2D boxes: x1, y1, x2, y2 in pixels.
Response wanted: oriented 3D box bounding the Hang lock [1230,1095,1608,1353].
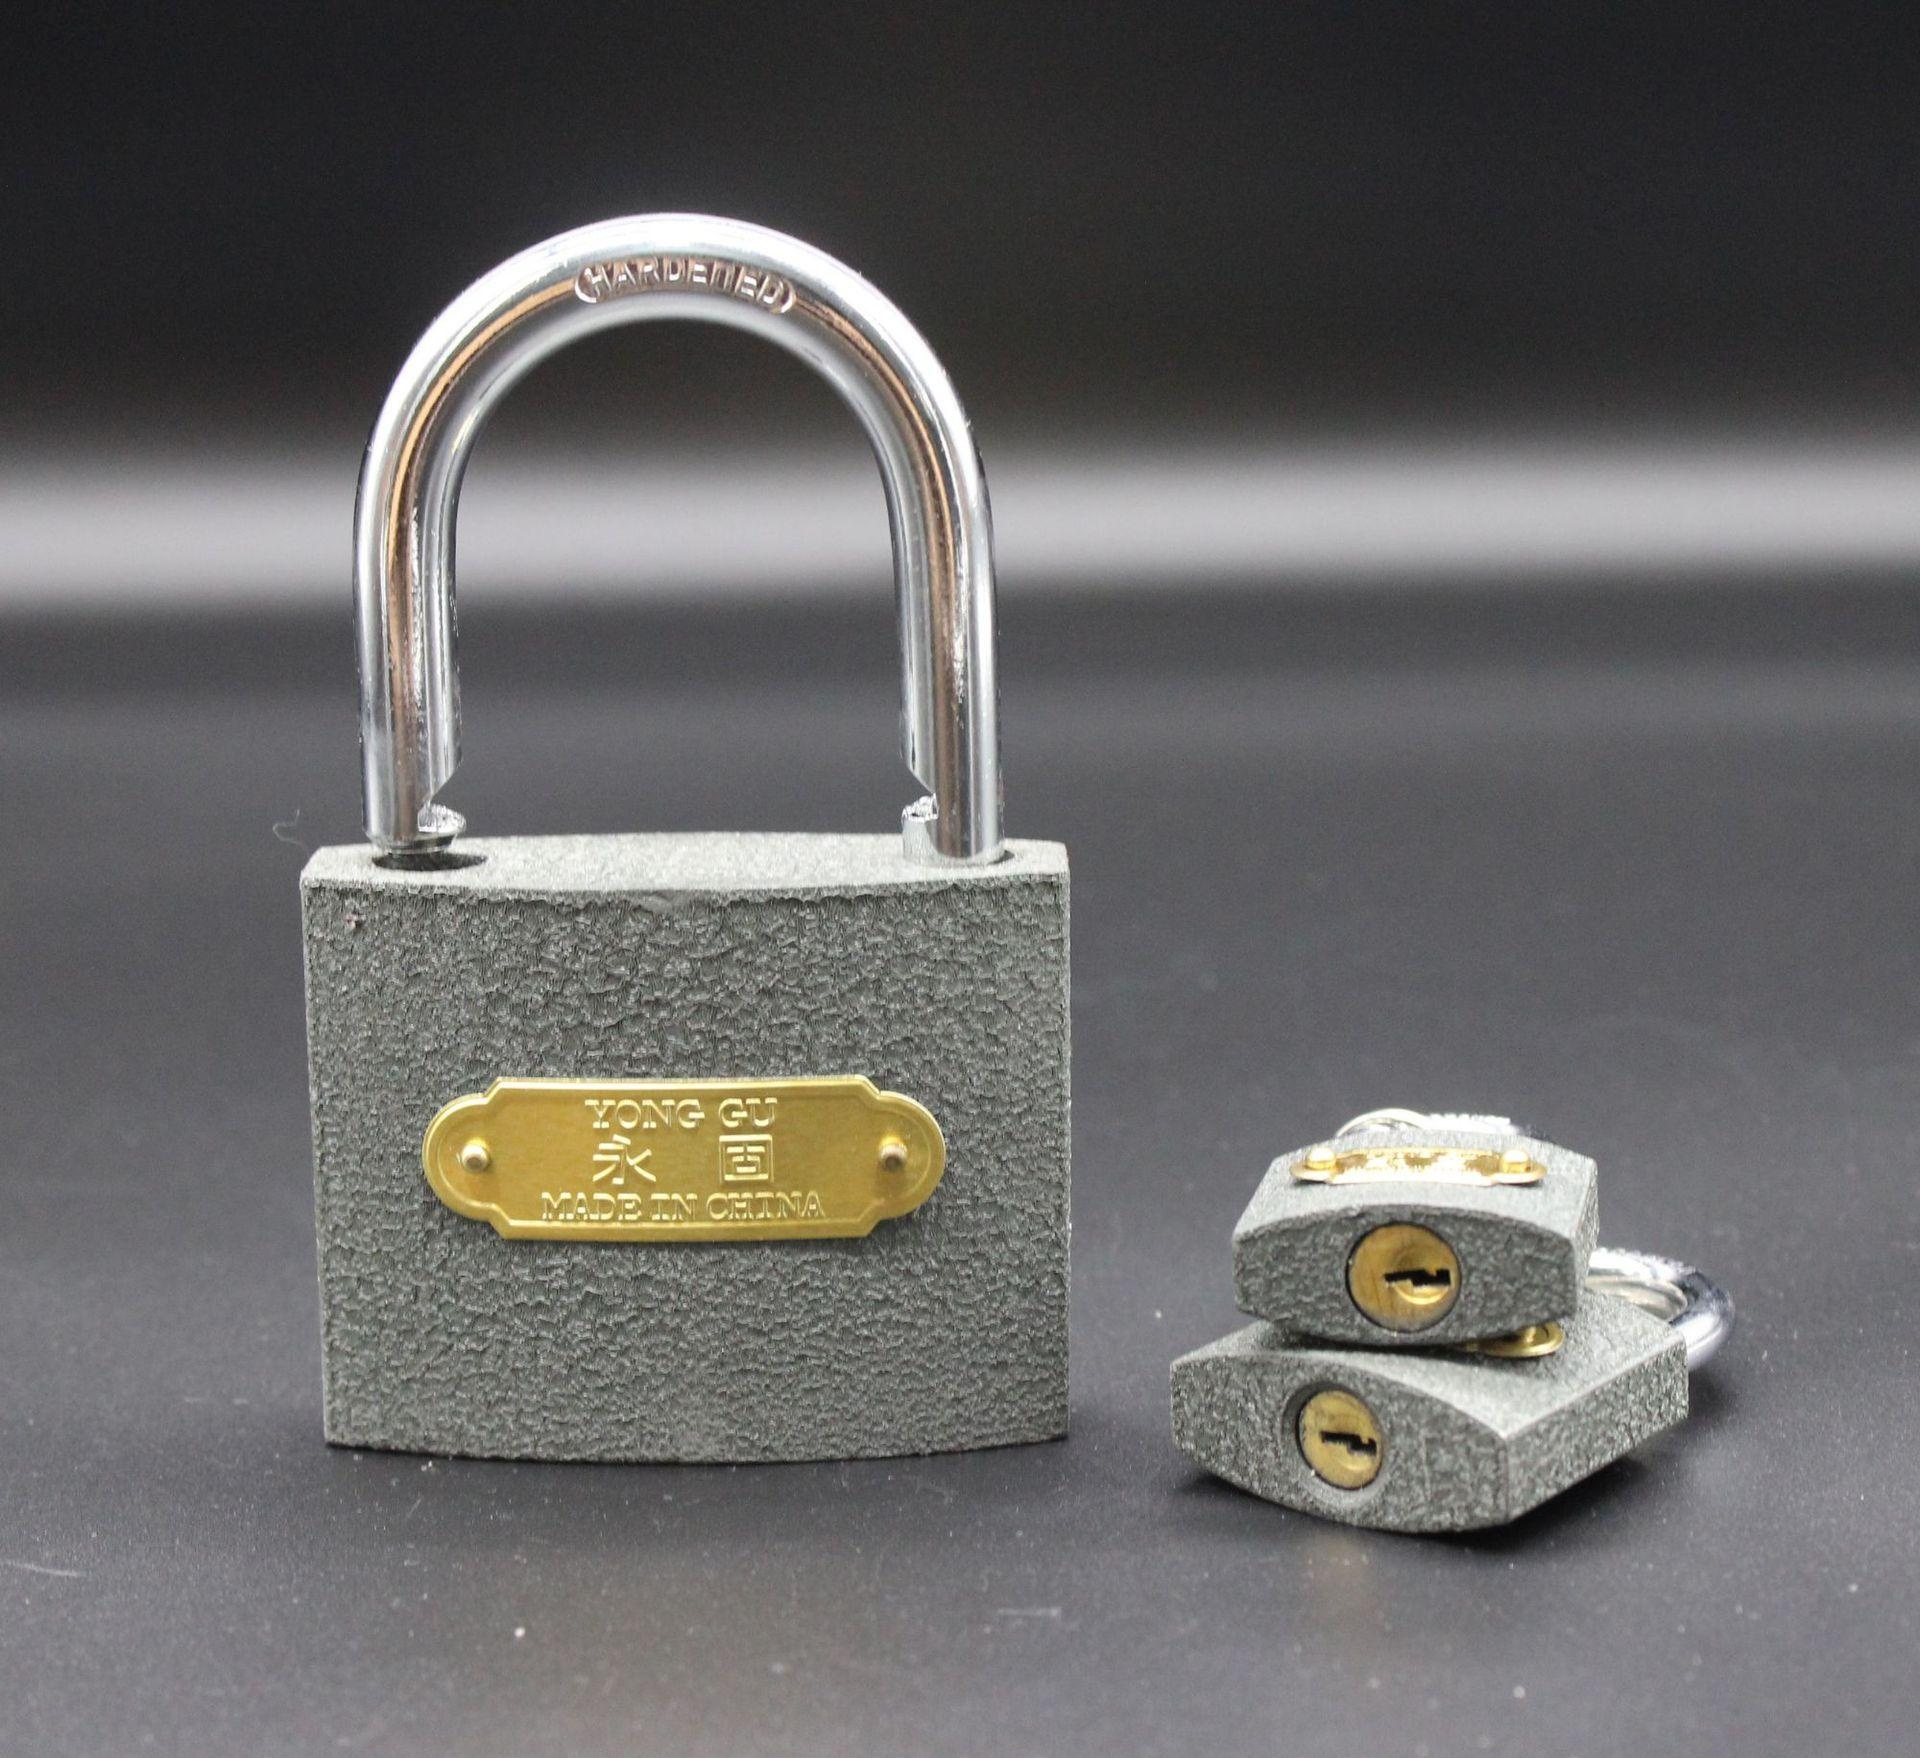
[{"bbox_3d":[0.253,0.180,1.752,0.186,0.091,0.201,4,16,15],"label":"Hang lock"}]
